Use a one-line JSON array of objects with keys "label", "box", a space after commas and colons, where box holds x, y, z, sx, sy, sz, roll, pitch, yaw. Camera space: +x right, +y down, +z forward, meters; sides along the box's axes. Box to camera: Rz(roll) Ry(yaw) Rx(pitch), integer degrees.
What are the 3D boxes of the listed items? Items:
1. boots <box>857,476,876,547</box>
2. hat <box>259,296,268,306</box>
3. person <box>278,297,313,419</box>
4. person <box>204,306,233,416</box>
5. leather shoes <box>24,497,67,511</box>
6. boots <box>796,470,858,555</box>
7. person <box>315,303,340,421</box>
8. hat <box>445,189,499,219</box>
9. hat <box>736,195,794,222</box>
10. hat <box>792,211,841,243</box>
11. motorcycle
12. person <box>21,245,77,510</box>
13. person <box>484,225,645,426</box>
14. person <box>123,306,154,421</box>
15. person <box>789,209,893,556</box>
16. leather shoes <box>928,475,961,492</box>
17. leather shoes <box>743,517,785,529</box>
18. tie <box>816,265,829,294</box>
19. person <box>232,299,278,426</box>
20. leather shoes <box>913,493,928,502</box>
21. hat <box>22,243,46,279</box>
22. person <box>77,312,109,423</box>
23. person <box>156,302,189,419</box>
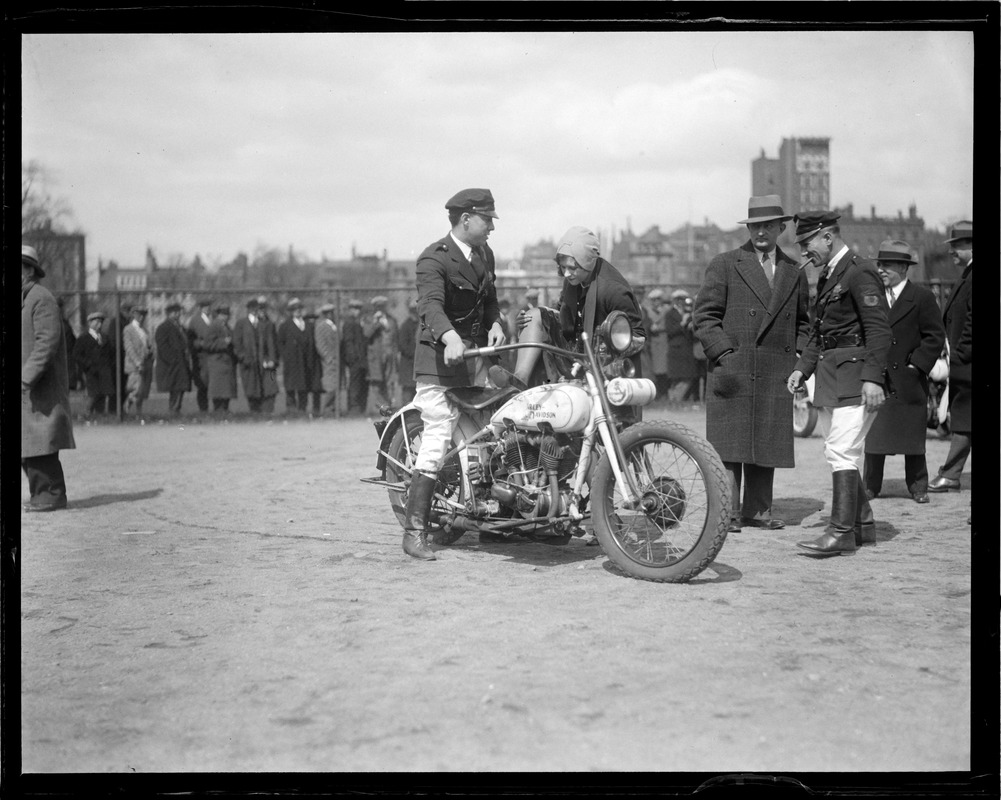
[{"label": "boots", "box": [2.507, 0.828, 10.980, 0.162, 0.600, 0.442, -1, 1, 12]}, {"label": "hat", "box": [-3.271, -1.338, 21.829, 0.113, 0.126, 0.027, -3, -7, -37]}, {"label": "person", "box": [-2.834, -0.565, 21.770, 0.429, 1.477, 0.423, -6, 11, -27]}, {"label": "person", "box": [-3.821, -0.499, 21.645, 0.401, 1.348, 0.550, -3, 10, -10]}, {"label": "leather shoes", "box": [-3.594, 0.821, 12.547, 0.311, 0.128, 0.228, -5, 12, -18]}, {"label": "boots", "box": [2.206, 0.758, 10.585, 0.446, 0.578, 0.231, -4, 10, -17]}, {"label": "person", "box": [-2.352, -0.500, 21.620, 0.284, 1.500, 1.053, -4, 11, -17]}, {"label": "hat", "box": [-0.195, -1.266, 10.359, 0.298, 0.202, 0.243, -2, 11, -7]}, {"label": "hat", "box": [1.911, -1.350, 11.451, 0.315, 0.220, 0.360, 0, 11, 5]}, {"label": "hat", "box": [2.116, -1.165, 10.769, 0.222, 0.129, 0.185, -12, 11, -43]}, {"label": "motorcycle", "box": [0.190, 0.251, 10.283, 2.446, 1.658, 1.191, 4, 8, 31]}, {"label": "person", "box": [-3.750, -0.152, 12.727, 0.651, 2.149, 0.655, -1, -10, -24]}, {"label": "person", "box": [0.483, -0.406, 10.979, 0.832, 1.375, 0.637, 10, -18, -1]}, {"label": "person", "box": [-4.906, -0.471, 21.428, 0.281, 1.424, 0.541, 0, 10, 3]}, {"label": "person", "box": [2.289, -0.106, 10.672, 0.619, 2.232, 0.797, 0, 10, 8]}, {"label": "leather shoes", "box": [3.744, 0.726, 13.418, 0.231, 0.126, 0.124, 4, -7, 15]}, {"label": "leather shoes", "box": [1.903, 0.904, 11.563, 0.279, 0.143, 0.107, -3, -4, 31]}, {"label": "tie", "box": [2.192, -0.815, 10.901, 0.046, 0.156, 0.106, 16, -13, -2]}, {"label": "person", "box": [-3.345, -0.567, 21.705, 0.578, 1.529, 0.435, -3, 10, -12]}, {"label": "leather shoes", "box": [3.365, 0.793, 12.761, 0.045, 0.059, 0.137, 0, -8, 1]}, {"label": "hat", "box": [-3.729, -1.106, 12.698, 0.223, 0.113, 0.277, 26, -7, 3]}, {"label": "person", "box": [-5.455, -0.422, 21.263, 0.391, 1.388, 0.314, -4, 10, -18]}, {"label": "person", "box": [-4.460, -0.522, 21.567, 0.427, 1.470, 0.442, -4, 10, -18]}]
